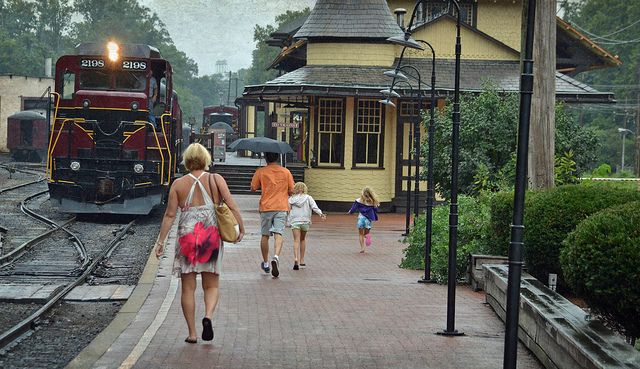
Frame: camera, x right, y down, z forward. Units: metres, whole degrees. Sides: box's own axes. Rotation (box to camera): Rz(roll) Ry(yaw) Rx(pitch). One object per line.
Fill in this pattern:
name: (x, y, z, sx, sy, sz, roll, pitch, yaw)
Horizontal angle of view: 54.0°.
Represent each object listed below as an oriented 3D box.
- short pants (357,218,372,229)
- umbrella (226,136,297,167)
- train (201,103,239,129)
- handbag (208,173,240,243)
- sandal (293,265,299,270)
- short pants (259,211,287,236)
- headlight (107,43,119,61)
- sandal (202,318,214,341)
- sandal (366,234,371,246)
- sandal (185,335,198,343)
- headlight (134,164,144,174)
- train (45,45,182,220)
short pants: (1.364, 1.219, 19.093, 0.449, 0.446, 0.269, 4, 36, -7)
umbrella: (-1.465, -0.874, 15.837, 0.833, 0.773, 2.196, 1, -1, -18)
train: (-9.381, -6.897, 60.649, 2.477, 2.248, 3.728, 0, 1, -5)
handbag: (-1.683, 0.404, 11.135, 0.472, 1.238, 0.489, 0, 0, -5)
sandal: (-0.595, 2.128, 16.021, 0.148, 0.126, 0.132, 1, 5, -7)
short pants: (-1.129, 0.842, 15.093, 0.659, 0.833, 0.485, 5, 9, 6)
headlight: (-7.578, -4.877, 22.972, 0.416, 0.651, 0.203, 2, 5, 4)
sandal: (-1.960, 2.560, 10.992, 0.176, 0.471, 0.243, 1, 5, -10)
sandal: (1.510, 1.740, 19.394, 0.134, 0.356, 0.147, 1, 0, 3)
sandal: (-2.269, 2.753, 11.075, 0.220, 0.091, 0.144, 1, 5, -5)
headlight: (-6.362, -0.559, 22.092, 0.297, 0.285, 0.109, 0, 5, -17)
train: (-7.896, -1.870, 26.121, 2.990, 4.397, 8.965, 0, 1, -4)
